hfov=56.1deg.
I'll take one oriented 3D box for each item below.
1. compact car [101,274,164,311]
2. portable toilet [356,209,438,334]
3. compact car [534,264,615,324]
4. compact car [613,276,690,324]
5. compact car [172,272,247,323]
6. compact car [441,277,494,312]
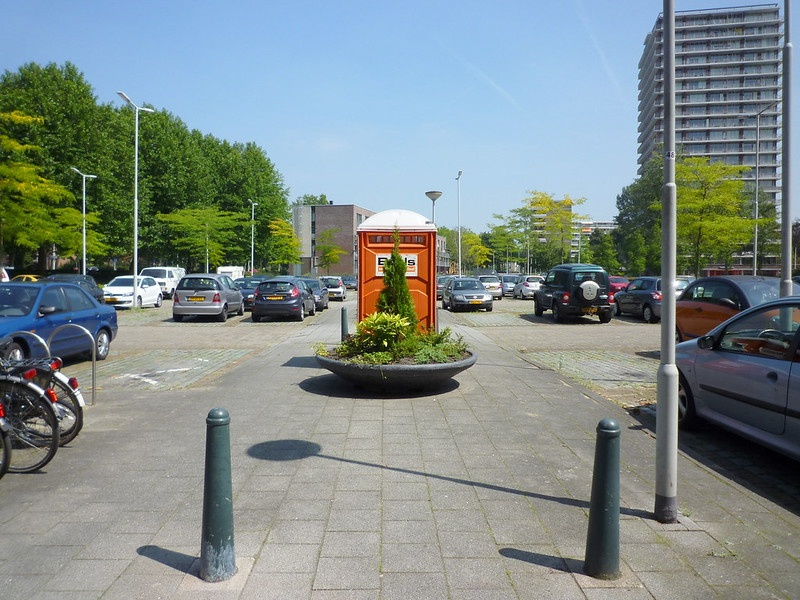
[{"bbox_3d":[-10.906,-0.318,30.384,1.314,0.936,2.155,-1,-5,-2],"label":"compact car"},{"bbox_3d":[-0.054,-0.575,13.423,1.407,2.054,1.532,0,13,-1],"label":"portable toilet"},{"bbox_3d":[5.477,-0.332,23.578,1.329,1.233,2.595,0,5,-2],"label":"compact car"},{"bbox_3d":[6.253,0.041,18.899,1.265,1.029,2.301,-1,7,-6],"label":"compact car"},{"bbox_3d":[-6.065,-0.147,24.318,1.117,0.914,2.496,0,4,2],"label":"compact car"},{"bbox_3d":[2.628,-0.055,28.856,1.510,1.263,2.088,-1,13,-7],"label":"compact car"}]
